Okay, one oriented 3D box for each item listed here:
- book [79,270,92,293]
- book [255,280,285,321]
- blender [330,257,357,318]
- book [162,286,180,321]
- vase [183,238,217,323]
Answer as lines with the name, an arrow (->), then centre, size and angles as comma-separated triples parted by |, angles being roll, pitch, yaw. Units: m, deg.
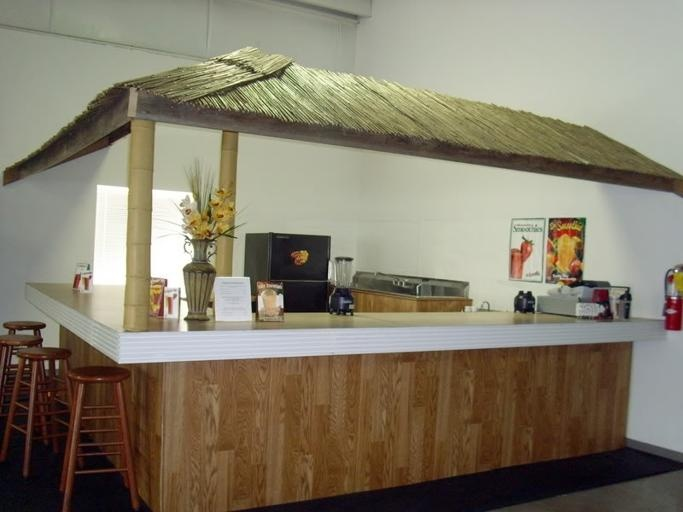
book -> -2.592, 0.250, 5.573 | 0.105, 0.200, 0.192 | 0, 5, -38
book -> -0.506, 0.315, 3.890 | 0.188, 0.257, 0.193 | 2, 4, -9
blender -> 0.013, 0.244, 4.543 | 0.184, 0.438, 0.375 | 3, 4, 2
book -> -1.148, 0.318, 3.745 | 0.110, 0.213, 0.124 | 1, 4, -28
vase -> -0.981, 0.160, 3.790 | 0.214, 0.549, 0.221 | 2, 4, -16
